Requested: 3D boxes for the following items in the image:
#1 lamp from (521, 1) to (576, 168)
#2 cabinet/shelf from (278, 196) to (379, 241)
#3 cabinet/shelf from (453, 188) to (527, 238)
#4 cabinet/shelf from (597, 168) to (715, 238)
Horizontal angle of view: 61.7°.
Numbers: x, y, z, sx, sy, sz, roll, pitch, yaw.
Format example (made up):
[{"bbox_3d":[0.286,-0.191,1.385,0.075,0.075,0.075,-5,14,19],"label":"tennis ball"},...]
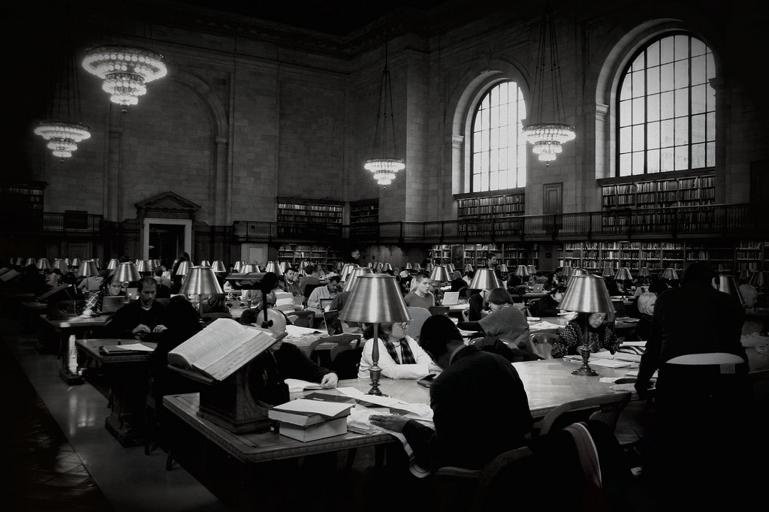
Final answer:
[{"bbox_3d":[4.849,-5.274,19.102,1.274,3.759,1.242,-9,17,-15],"label":"lamp"},{"bbox_3d":[-2.380,-1.497,25.258,3.707,1.590,1.727,0,0,-10],"label":"cabinet/shelf"},{"bbox_3d":[3.443,-1.413,21.505,2.511,1.475,0.404,-5,8,-19],"label":"cabinet/shelf"},{"bbox_3d":[6.858,-1.429,16.392,0.566,1.259,3.168,0,0,-35],"label":"cabinet/shelf"}]
